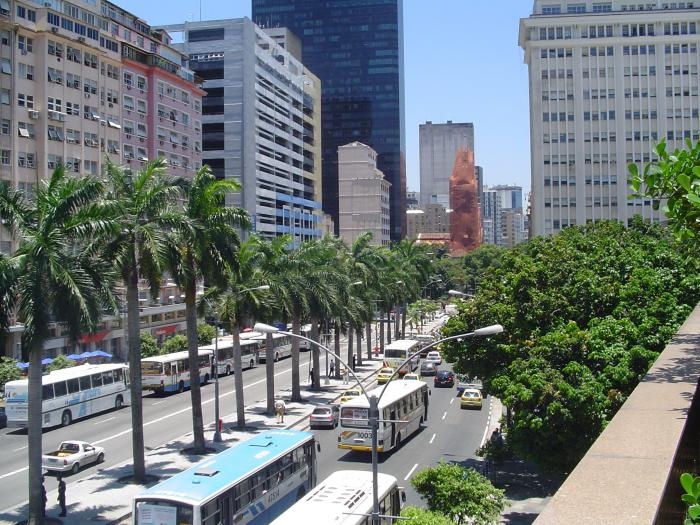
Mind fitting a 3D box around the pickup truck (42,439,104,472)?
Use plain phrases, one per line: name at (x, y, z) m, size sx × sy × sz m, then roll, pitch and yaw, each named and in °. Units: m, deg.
pickup truck at (-17.797, 12.509, 61.625) m, size 2.128 × 1.865 × 4.482 m, roll -2°, pitch 0°, yaw 17°
